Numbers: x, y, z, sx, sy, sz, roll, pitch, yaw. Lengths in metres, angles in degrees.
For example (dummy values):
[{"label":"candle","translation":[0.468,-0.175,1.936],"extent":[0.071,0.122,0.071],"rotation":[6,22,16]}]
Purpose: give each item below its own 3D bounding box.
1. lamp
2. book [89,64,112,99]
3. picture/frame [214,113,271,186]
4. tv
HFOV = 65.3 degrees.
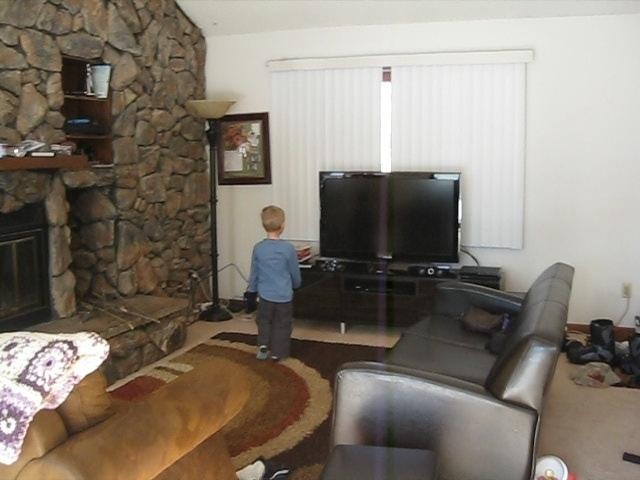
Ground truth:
[{"label":"lamp","translation":[-1.054,-0.315,5.075],"extent":[0.448,2.178,0.718],"rotation":[-3,12,-10]},{"label":"book","translation":[-1.776,-1.280,4.027],"extent":[0.168,0.269,0.113],"rotation":[-2,12,-9]},{"label":"picture/frame","translation":[-0.783,-0.964,5.175],"extent":[0.759,0.909,0.072],"rotation":[3,9,16]},{"label":"tv","translation":[0.687,-0.161,4.618],"extent":[0.981,0.685,0.129],"rotation":[2,4,9]}]
